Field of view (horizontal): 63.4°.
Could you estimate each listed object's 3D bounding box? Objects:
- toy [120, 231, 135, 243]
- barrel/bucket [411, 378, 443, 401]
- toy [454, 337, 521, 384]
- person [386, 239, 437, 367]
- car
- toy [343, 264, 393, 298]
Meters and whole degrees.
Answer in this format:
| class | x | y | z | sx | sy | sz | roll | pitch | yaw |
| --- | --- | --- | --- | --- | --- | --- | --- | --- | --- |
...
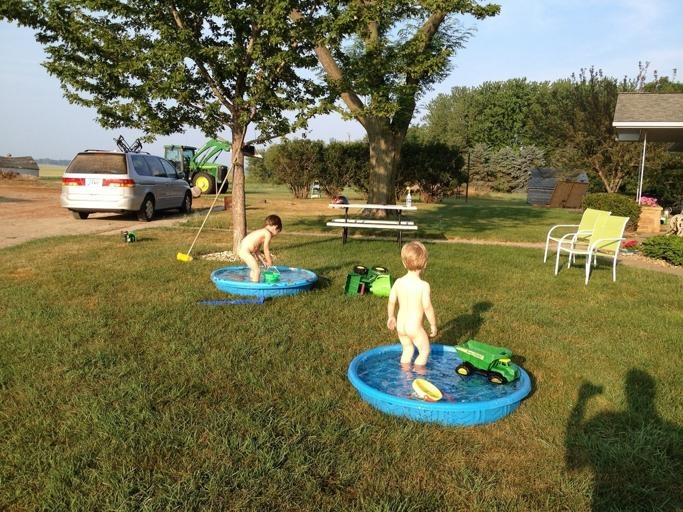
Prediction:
| class | x | y | z | sx | sy | sz | roll | pitch | yaw |
| --- | --- | --- | --- | --- | --- | --- | --- | --- | --- |
| toy | -4.501 | -0.396 | 11.802 | 0.224 | 0.352 | 0.308 | 1 | -1 | -38 |
| barrel/bucket | 0.778 | 1.247 | 5.142 | 0.309 | 0.129 | 0.270 | 5 | 15 | 19 |
| toy | 1.427 | 1.017 | 5.452 | 0.496 | 0.295 | 0.315 | 3 | 5 | 39 |
| person | 0.720 | 0.485 | 5.680 | 0.494 | 1.263 | 0.415 | 3 | 13 | 17 |
| car | -5.823 | -2.091 | 16.570 | 1.978 | 2.352 | 4.861 | 5 | 15 | 20 |
| toy | 0.374 | 0.359 | 8.187 | 0.668 | 0.275 | 0.820 | 0 | 14 | 0 |
